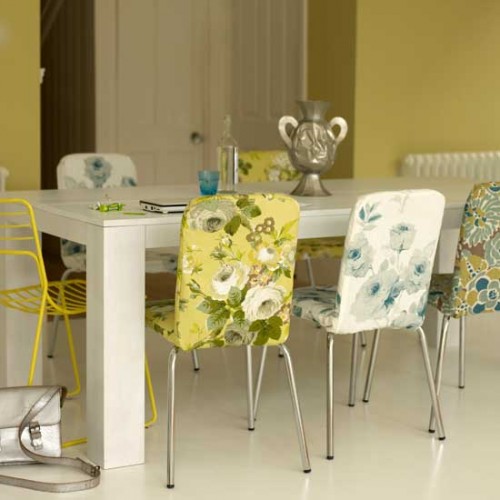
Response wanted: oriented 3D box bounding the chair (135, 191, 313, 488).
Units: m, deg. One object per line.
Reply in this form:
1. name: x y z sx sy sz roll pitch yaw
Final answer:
1. chair: -0.046 0.223 1.608 0.471 0.767 0.507 0 6 -15
